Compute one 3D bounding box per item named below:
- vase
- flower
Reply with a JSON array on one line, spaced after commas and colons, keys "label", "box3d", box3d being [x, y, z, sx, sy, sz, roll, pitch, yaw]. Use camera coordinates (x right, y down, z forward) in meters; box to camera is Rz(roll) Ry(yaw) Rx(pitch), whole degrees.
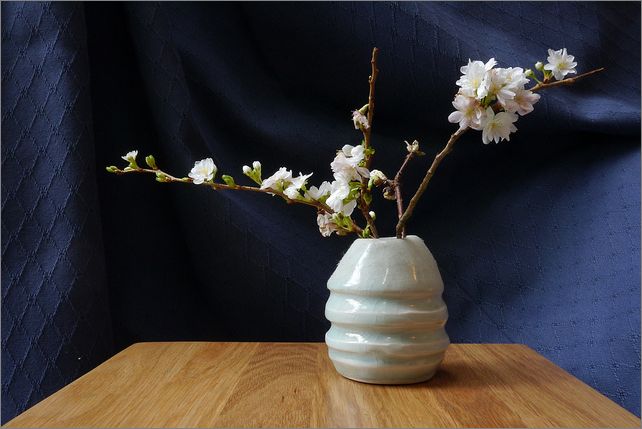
[{"label": "vase", "box3d": [0.138, 0.186, 1.057, 0.245, 0.302, 0.265, 0, 0, 22]}, {"label": "flower", "box3d": [0.042, -0.117, 0.990, 0.891, 0.441, 0.197, -3, -10, 7]}]
